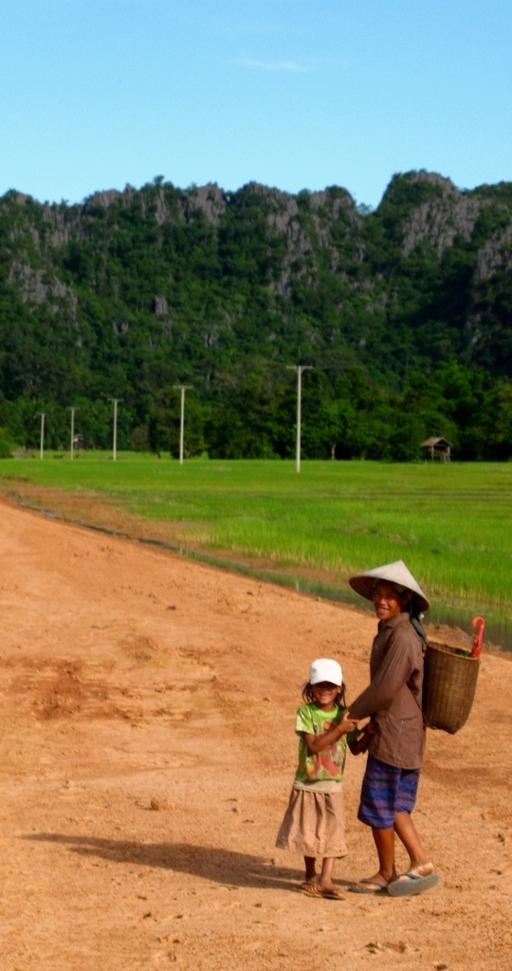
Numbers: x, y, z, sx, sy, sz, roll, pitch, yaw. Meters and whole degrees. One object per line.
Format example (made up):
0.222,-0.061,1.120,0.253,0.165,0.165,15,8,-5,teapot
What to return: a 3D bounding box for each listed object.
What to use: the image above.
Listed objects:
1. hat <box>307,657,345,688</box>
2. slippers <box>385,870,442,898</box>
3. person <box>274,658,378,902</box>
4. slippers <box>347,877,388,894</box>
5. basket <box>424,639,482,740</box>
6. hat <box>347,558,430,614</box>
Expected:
0.383,1.049,8.354,0.181,0.161,0.336,5,3,1,hat
0.894,2.244,8.495,0.303,0.170,0.136,-3,-9,-20,slippers
0.342,1.653,8.441,0.415,1.382,0.478,3,2,4,person
0.650,2.314,8.565,0.143,0.085,0.104,5,-4,0,slippers
1.093,1.180,8.598,0.322,0.550,0.395,6,-9,1,basket
0.790,0.584,8.514,0.334,0.192,0.326,40,-12,-21,hat
